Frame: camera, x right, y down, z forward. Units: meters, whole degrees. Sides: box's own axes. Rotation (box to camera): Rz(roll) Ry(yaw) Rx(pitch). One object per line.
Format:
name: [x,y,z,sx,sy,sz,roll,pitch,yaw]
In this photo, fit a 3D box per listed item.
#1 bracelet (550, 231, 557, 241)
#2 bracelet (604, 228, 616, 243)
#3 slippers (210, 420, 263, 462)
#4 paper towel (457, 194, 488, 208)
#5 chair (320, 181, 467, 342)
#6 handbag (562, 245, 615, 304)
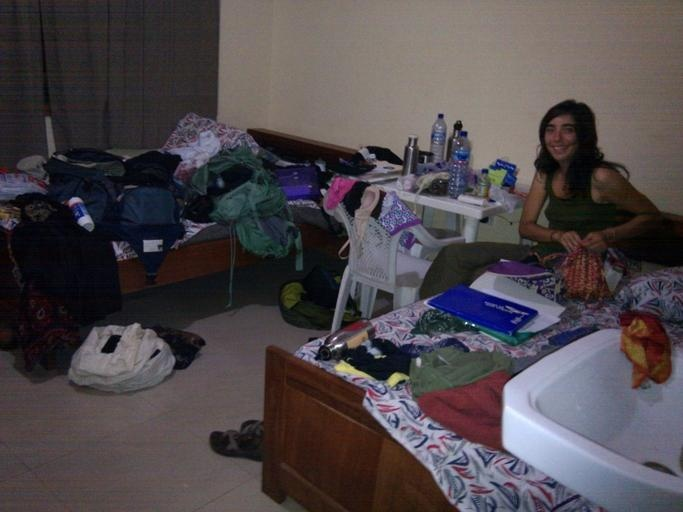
bracelet: [0.970,-0.089,2.540,0.037,0.045,0.024,12,48,16]
bracelet: [1.137,-0.083,2.361,0.050,0.041,0.046,-12,23,-15]
slippers: [-0.444,0.788,2.357,0.192,0.067,0.118,4,19,-19]
paper towel: [0.705,-0.299,2.954,0.120,0.028,0.070,18,9,35]
chair: [0.256,0.022,2.703,0.623,0.760,0.652,24,40,37]
handbag: [0.958,0.070,2.137,0.191,0.184,0.079,0,-16,3]
